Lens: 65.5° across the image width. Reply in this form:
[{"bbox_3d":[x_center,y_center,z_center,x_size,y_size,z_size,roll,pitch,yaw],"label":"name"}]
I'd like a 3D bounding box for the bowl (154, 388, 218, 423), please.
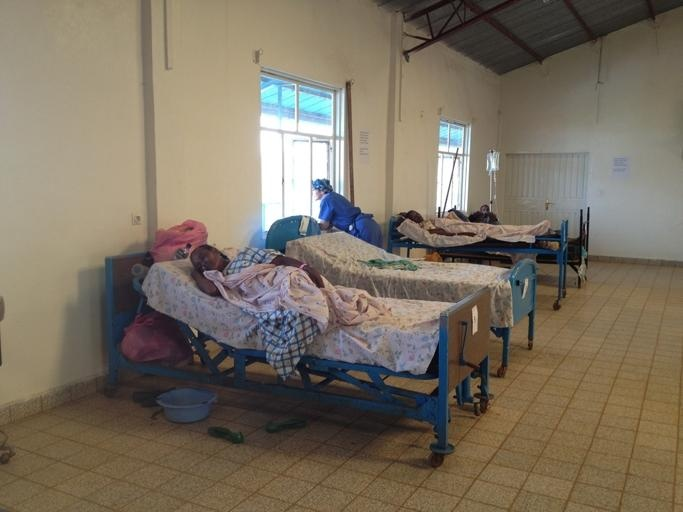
[{"bbox_3d":[-1.209,1.191,4.222,0.412,0.159,0.453,10,-2,0],"label":"bowl"}]

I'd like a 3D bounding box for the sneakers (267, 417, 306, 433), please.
[{"bbox_3d":[-0.428,1.275,4.010,0.307,0.065,0.104,-2,13,-11],"label":"sneakers"}]

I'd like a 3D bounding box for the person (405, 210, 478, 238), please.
[{"bbox_3d":[1.469,-0.531,8.706,0.772,0.262,0.581,7,16,27],"label":"person"}]

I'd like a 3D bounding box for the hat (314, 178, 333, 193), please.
[{"bbox_3d":[-0.262,-0.988,7.439,0.318,0.196,0.140,-5,13,-21],"label":"hat"}]

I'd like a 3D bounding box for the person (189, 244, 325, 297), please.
[{"bbox_3d":[-0.818,0.114,4.380,0.725,0.279,0.568,10,31,-8],"label":"person"}]

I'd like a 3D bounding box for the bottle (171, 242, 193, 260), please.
[{"bbox_3d":[-1.455,-0.043,4.849,0.116,0.046,0.170,13,29,-1],"label":"bottle"}]

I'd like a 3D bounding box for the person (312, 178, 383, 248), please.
[{"bbox_3d":[0.050,-0.596,7.632,1.186,0.614,0.646,28,26,23],"label":"person"}]
